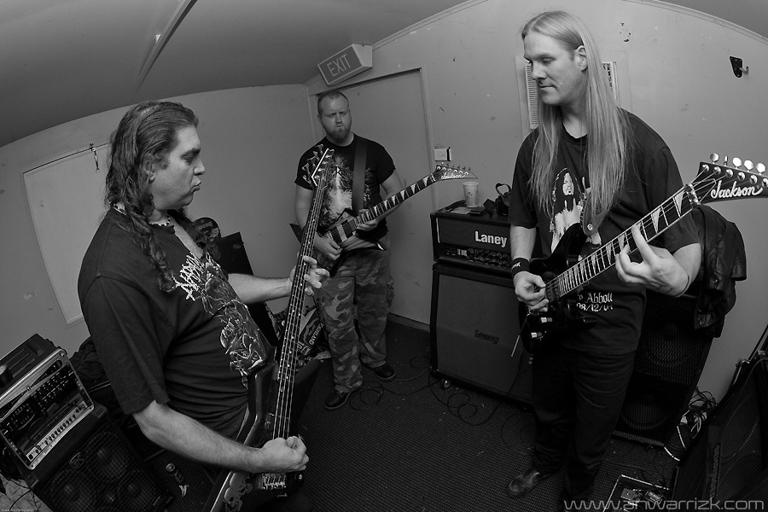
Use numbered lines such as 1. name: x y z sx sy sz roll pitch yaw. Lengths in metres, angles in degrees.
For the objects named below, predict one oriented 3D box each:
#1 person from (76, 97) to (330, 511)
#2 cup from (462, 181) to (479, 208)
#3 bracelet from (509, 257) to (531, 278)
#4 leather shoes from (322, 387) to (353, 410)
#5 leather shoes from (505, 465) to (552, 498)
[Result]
1. person: -0.794 0.175 2.102 0.645 1.508 0.603 -15 16 -27
2. cup: 0.586 -0.405 3.558 0.172 0.171 0.112 -8 6 -39
3. bracelet: 0.686 0.063 2.735 0.084 0.071 0.087 -14 -4 42
4. leather shoes: -0.310 0.968 3.642 0.076 0.078 0.214 1 3 24
5. leather shoes: 0.795 1.233 2.926 0.242 0.096 0.075 -22 30 -22
